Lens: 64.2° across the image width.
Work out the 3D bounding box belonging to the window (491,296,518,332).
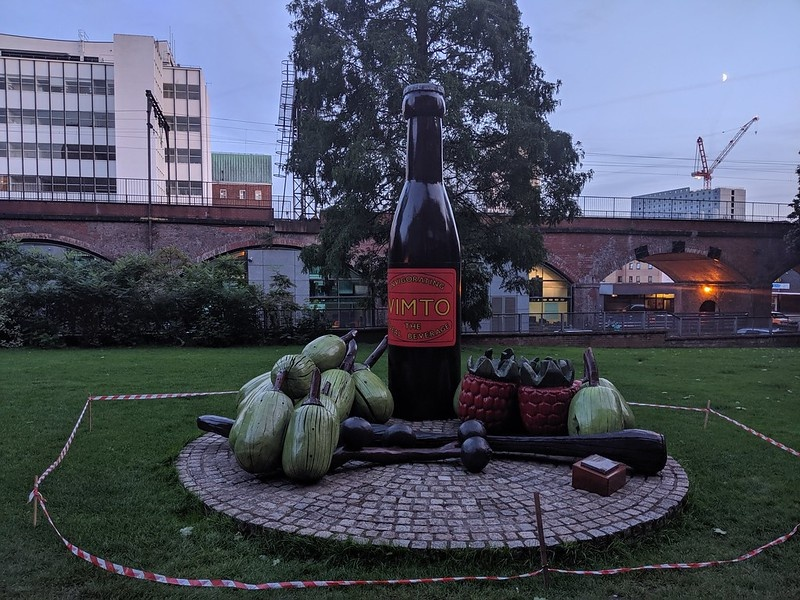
[{"bbox_3d":[5.186,0.786,32.131,1.360,2.204,0.289,0,-5,-7],"label":"window"}]

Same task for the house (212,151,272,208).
[{"bbox_3d":[-19.189,-14.684,76.425,6.880,7.508,4.396,0,38,-16],"label":"house"}]
